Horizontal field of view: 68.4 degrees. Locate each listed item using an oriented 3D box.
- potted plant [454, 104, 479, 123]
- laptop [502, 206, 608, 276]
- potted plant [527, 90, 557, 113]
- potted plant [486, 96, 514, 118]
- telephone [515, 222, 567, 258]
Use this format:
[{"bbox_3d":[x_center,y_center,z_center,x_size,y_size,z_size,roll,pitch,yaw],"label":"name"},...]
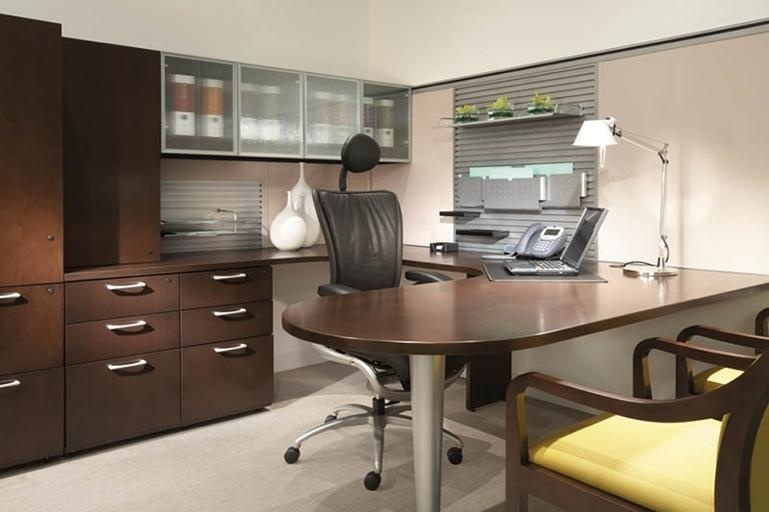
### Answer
[{"bbox_3d":[0.627,-1.106,4.395,0.182,0.136,0.112,5,13,27],"label":"potted plant"},{"bbox_3d":[1.035,-0.052,3.410,0.502,0.344,0.495,1,4,1],"label":"laptop"},{"bbox_3d":[1.108,-1.073,3.992,0.198,0.089,0.195,1,16,7],"label":"potted plant"},{"bbox_3d":[0.869,-1.099,4.193,0.177,0.171,0.088,-2,-14,12],"label":"potted plant"},{"bbox_3d":[1.061,-0.137,3.834,0.266,0.339,0.119,19,31,4],"label":"telephone"}]
